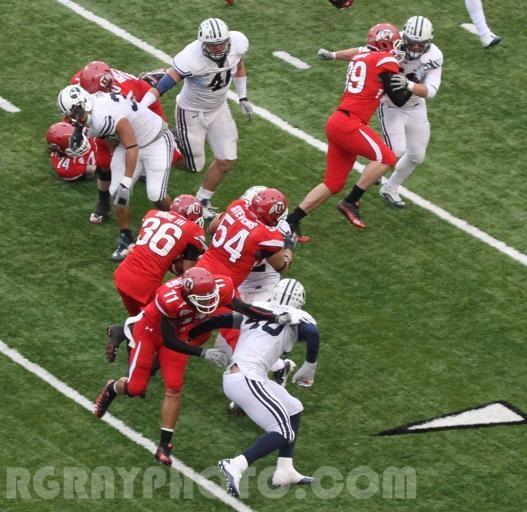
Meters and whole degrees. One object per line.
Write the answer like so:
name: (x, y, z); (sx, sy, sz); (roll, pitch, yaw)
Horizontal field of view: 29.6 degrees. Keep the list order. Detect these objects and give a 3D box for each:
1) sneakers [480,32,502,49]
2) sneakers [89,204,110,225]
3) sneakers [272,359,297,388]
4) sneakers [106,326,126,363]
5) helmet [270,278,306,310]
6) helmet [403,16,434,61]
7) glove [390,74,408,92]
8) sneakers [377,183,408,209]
sneakers: (2.676, -2.528, 11.650); (0.143, 0.132, 0.283); (-45, 23, -17)
sneakers: (-1.508, -0.380, 9.221); (0.151, 0.085, 0.214); (9, 33, -2)
sneakers: (0.161, 0.890, 7.669); (0.112, 0.257, 0.143); (39, 33, 29)
sneakers: (-1.145, 0.693, 7.800); (0.160, 0.284, 0.170); (11, 8, 11)
helmet: (0.205, 0.267, 7.335); (0.252, 0.192, 0.270); (16, 20, 15)
helmet: (1.430, -2.035, 9.158); (0.403, 0.396, 0.348); (6, 62, 8)
glove: (1.205, -1.542, 8.882); (0.248, 0.061, 0.097); (8, 81, -4)
sneakers: (1.258, -0.578, 9.690); (0.323, 0.205, 0.092); (29, 51, -7)
